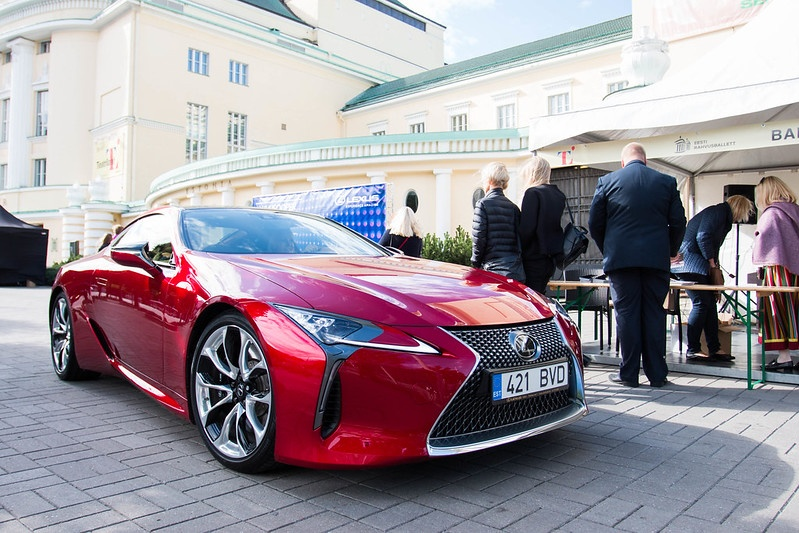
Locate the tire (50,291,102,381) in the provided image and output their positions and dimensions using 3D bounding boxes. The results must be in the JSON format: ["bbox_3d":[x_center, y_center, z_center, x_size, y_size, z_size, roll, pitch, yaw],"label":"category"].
[{"bbox_3d":[-3.649,0.769,7.021,0.370,1.040,0.985,2,0,-42],"label":"tire"}]

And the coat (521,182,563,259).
[{"bbox_3d":[1.669,-0.566,7.195,0.554,0.823,0.394,-2,8,-34],"label":"coat"}]

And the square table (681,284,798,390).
[{"bbox_3d":[3.946,1.102,7.203,0.996,1.394,1.990,-2,-2,30],"label":"square table"}]

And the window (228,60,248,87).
[{"bbox_3d":[-9.416,-11.322,35.809,0.174,1.456,1.689,1,3,32],"label":"window"}]

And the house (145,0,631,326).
[{"bbox_3d":[-0.402,-5.620,26.023,12.856,5.625,16.474,1,0,-39],"label":"house"}]

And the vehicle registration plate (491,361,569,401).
[{"bbox_3d":[0.992,0.878,4.773,0.735,0.250,0.043,-8,14,-31],"label":"vehicle registration plate"}]

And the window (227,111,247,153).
[{"bbox_3d":[-9.632,-7.767,35.992,1.531,2.904,0.202,4,-26,-16],"label":"window"}]

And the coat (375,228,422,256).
[{"bbox_3d":[-0.020,-0.595,9.645,0.737,0.738,0.402,3,10,0],"label":"coat"}]

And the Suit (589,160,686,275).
[{"bbox_3d":[2.572,-0.547,6.760,0.983,1.195,0.507,5,13,22],"label":"Suit"}]

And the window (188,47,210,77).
[{"bbox_3d":[-11.190,-11.463,34.241,0.167,1.673,1.771,0,2,37],"label":"window"}]

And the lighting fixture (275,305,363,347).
[{"bbox_3d":[-0.631,0.417,4.576,0.597,0.212,0.459,-10,-36,36],"label":"lighting fixture"}]

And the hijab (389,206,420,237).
[{"bbox_3d":[0.104,-0.700,9.713,0.431,0.376,0.473,6,15,20],"label":"hijab"}]
